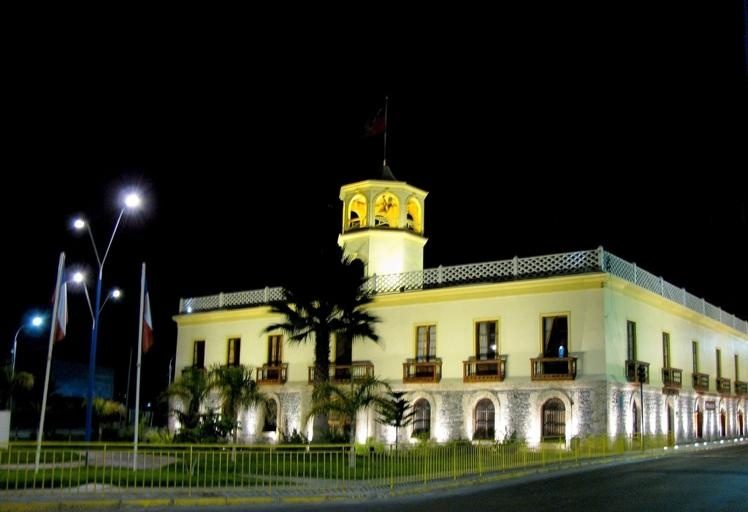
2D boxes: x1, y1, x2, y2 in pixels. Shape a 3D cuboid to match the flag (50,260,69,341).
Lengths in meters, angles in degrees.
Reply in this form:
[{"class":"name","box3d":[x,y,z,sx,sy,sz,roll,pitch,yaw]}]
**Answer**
[{"class":"flag","box3d":[-10.991,1.591,23.986,0.440,2.842,1.810,7,-17,-17]}]
